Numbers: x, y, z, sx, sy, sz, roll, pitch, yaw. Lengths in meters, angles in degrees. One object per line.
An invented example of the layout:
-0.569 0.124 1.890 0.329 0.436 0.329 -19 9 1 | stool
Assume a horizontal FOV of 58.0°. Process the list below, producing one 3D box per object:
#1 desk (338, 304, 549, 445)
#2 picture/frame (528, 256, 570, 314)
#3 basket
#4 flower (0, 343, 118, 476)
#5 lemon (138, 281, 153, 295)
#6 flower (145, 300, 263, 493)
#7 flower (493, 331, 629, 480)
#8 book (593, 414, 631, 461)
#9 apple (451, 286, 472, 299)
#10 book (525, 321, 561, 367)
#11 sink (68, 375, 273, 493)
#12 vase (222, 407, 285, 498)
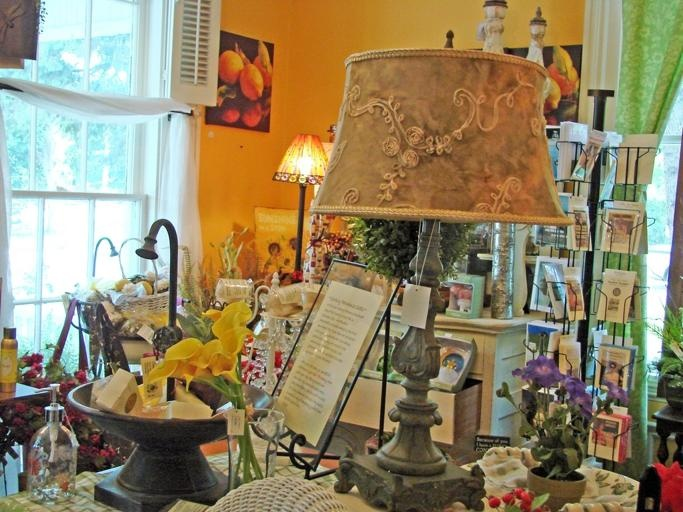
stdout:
0.472 0.571 2.873 0.915 0.921 0.371 4 10 9 | desk
1.159 0.155 3.430 0.127 0.383 0.371 3 -1 11 | picture/frame
-1.336 0.127 3.977 0.595 0.550 0.445 -3 -2 44 | basket
-1.630 0.828 3.510 0.498 0.250 0.753 2 14 -30 | flower
-1.223 0.197 3.876 0.041 0.079 0.077 -28 2 0 | lemon
-0.383 0.358 1.720 0.302 0.493 0.327 0 4 -18 | flower
0.643 0.520 1.877 0.341 0.365 0.297 12 -4 2 | flower
1.392 0.934 3.221 0.145 0.231 0.181 6 -3 -42 | book
0.794 0.231 4.060 0.073 0.037 0.106 6 6 32 | apple
1.089 0.496 3.412 0.162 0.234 0.082 7 -9 1 | book
-0.528 0.586 1.865 0.530 0.279 0.555 6 -9 -4 | sink
-0.269 0.509 1.704 0.129 0.220 0.137 0 3 -8 | vase
